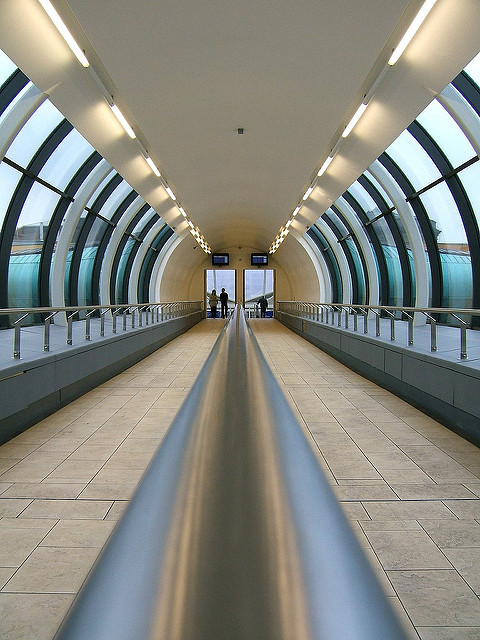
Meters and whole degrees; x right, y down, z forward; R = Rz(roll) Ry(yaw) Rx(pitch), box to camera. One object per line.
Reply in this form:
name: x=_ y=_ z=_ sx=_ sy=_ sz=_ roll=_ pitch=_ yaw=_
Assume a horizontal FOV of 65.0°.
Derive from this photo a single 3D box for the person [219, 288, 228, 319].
person: x=-1.146 y=-1.130 z=26.231 sx=0.471 sy=1.447 sz=1.862 roll=1 pitch=0 yaw=-6
